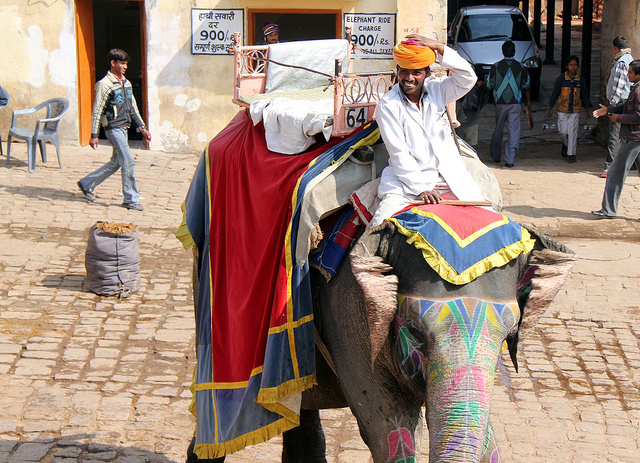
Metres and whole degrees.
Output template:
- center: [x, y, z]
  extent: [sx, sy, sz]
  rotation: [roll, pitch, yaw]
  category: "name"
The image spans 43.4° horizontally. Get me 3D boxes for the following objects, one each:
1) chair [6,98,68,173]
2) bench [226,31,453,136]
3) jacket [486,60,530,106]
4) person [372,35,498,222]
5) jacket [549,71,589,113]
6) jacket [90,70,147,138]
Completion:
- center: [-4.511, -1.551, 12.945]
  extent: [0.975, 1.226, 0.956]
  rotation: [20, 21, 40]
  category: "chair"
- center: [-0.055, -1.165, 6.595]
  extent: [1.204, 0.463, 1.181]
  rotation: [-10, 22, -43]
  category: "bench"
- center: [3.275, -2.626, 14.137]
  extent: [0.718, 0.763, 0.440]
  rotation: [4, 11, 11]
  category: "jacket"
- center: [0.647, -0.651, 5.058]
  extent: [0.861, 1.106, 0.909]
  rotation: [12, 23, 37]
  category: "person"
- center: [4.403, -2.479, 14.262]
  extent: [0.714, 0.694, 0.305]
  rotation: [3, 16, 9]
  category: "jacket"
- center: [-2.802, -1.752, 11.068]
  extent: [0.375, 0.893, 0.733]
  rotation: [12, 15, 43]
  category: "jacket"
